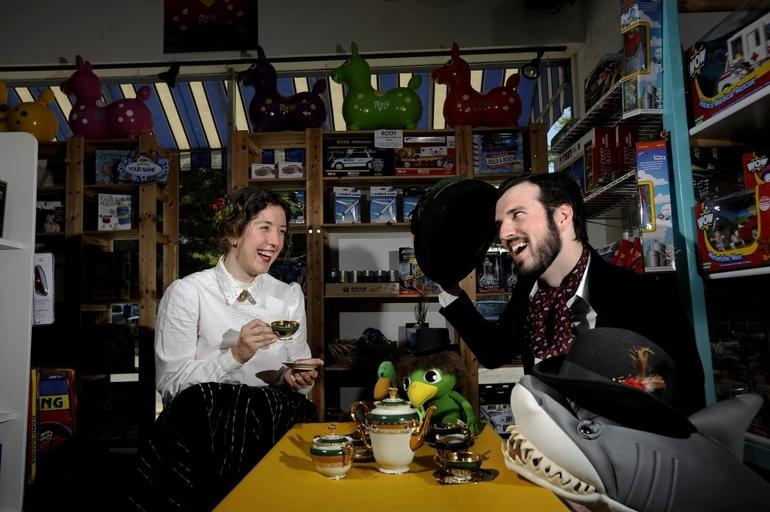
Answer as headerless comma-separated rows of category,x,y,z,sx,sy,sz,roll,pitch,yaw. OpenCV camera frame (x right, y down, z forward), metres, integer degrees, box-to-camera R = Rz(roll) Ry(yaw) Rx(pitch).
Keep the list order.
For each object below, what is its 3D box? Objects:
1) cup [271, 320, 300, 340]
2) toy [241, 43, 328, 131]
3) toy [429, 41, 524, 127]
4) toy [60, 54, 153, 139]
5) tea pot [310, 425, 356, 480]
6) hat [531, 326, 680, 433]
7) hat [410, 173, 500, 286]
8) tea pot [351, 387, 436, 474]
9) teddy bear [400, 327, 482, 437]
cup,-0.556,0.407,3.144,0.142,0.109,0.201,-3,0,-11
toy,-0.849,-1.380,4.741,0.732,0.688,0.262,-1,14,-1
toy,0.758,-1.394,4.683,0.708,0.680,0.202,-3,0,5
toy,-2.461,-1.367,5.045,0.882,0.689,0.395,3,5,3
tea pot,-0.211,0.806,2.353,0.179,0.202,0.177,-2,-6,0
hat,0.747,0.442,1.885,0.380,0.147,0.331,23,-1,5
hat,0.306,-0.142,2.879,0.478,0.502,0.155,6,23,-28
tea pot,0.035,0.734,2.400,0.387,0.333,0.238,-6,-10,26
teddy bear,0.239,0.646,2.891,0.438,0.571,0.365,-5,3,26
